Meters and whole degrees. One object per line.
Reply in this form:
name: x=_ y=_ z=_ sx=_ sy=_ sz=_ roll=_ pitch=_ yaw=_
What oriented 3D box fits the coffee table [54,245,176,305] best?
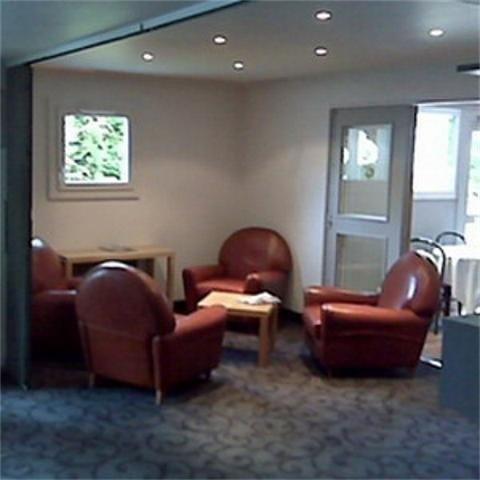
coffee table: x=-1.195 y=0.422 z=4.697 sx=1.034 sy=0.637 sz=0.580 roll=-4 pitch=5 yaw=-13

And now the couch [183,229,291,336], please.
couch: x=0.067 y=0.327 z=4.980 sx=1.241 sy=1.308 sz=1.004 roll=1 pitch=-7 yaw=32

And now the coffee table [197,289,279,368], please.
coffee table: x=0.066 y=0.735 z=3.765 sx=0.736 sy=0.440 sz=0.744 roll=0 pitch=5 yaw=-37

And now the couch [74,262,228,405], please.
couch: x=-0.490 y=0.474 z=3.042 sx=0.955 sy=1.075 sz=0.824 roll=7 pitch=13 yaw=32
